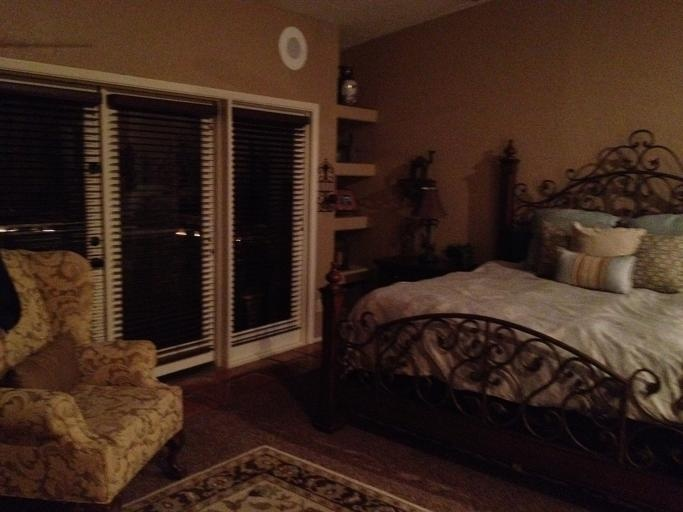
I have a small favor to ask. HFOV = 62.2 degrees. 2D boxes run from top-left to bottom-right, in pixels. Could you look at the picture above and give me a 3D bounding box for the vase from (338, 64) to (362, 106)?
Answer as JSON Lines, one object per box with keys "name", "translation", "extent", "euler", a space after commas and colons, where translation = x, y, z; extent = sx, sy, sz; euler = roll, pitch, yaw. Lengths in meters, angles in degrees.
{"name": "vase", "translation": [0.041, -1.845, 6.101], "extent": [0.245, 0.326, 0.208], "euler": [-1, 22, 3]}
